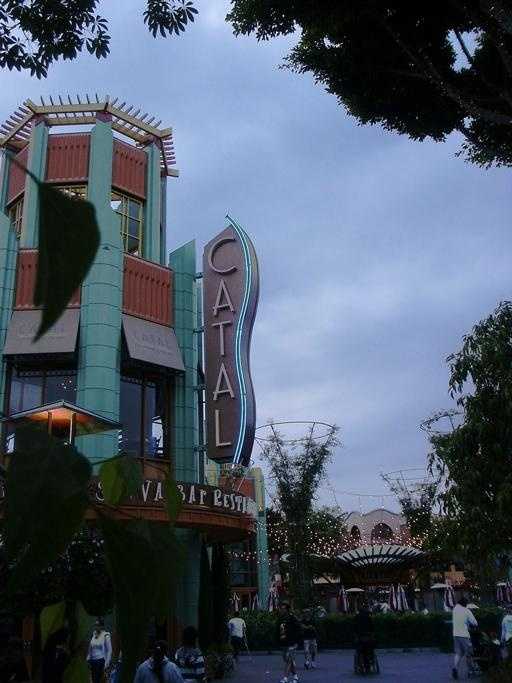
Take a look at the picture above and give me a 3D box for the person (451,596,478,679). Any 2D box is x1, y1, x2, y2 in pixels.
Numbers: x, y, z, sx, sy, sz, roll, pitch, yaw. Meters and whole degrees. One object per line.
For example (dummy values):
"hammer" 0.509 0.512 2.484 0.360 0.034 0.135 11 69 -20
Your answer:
"person" 4.862 6.954 14.924 0.676 1.751 1.588 -8 -18 15
